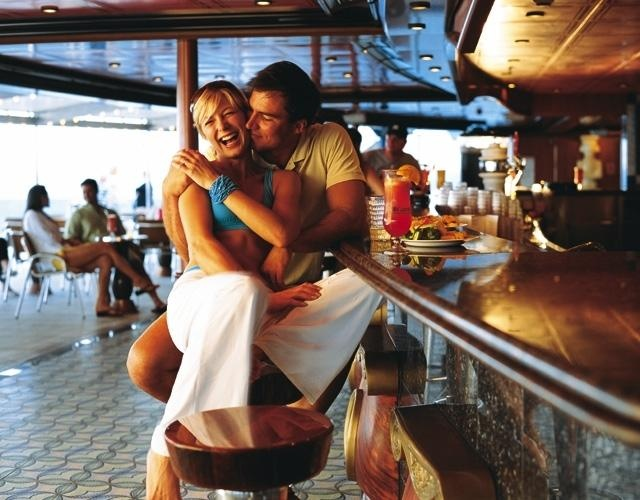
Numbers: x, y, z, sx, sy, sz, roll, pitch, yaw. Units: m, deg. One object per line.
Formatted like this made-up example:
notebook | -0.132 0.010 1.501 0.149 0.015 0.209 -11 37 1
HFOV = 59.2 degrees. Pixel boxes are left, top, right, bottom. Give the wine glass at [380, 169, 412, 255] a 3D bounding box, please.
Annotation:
wine glass | 0.275 -0.147 2.010 0.095 0.282 0.392 1 5 7

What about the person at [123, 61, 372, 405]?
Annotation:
person | -0.251 -0.041 2.321 0.944 1.393 0.748 -2 -2 -2

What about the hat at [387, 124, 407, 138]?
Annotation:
hat | 0.946 -1.441 6.916 0.225 0.211 0.452 1 5 7

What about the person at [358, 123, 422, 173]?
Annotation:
person | 0.904 -1.275 7.096 0.392 0.667 0.779 6 -25 42

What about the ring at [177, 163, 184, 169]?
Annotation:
ring | -0.514 -0.313 2.097 0.016 0.022 0.008 8 1 0

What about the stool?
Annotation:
stool | -0.154 0.463 1.269 0.363 0.160 0.299 0 5 1

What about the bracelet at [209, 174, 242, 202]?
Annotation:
bracelet | -0.350 -0.216 2.088 0.084 0.100 0.052 31 -8 3

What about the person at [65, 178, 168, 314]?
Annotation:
person | -2.654 -0.082 7.239 1.279 1.889 0.848 -11 -8 32
